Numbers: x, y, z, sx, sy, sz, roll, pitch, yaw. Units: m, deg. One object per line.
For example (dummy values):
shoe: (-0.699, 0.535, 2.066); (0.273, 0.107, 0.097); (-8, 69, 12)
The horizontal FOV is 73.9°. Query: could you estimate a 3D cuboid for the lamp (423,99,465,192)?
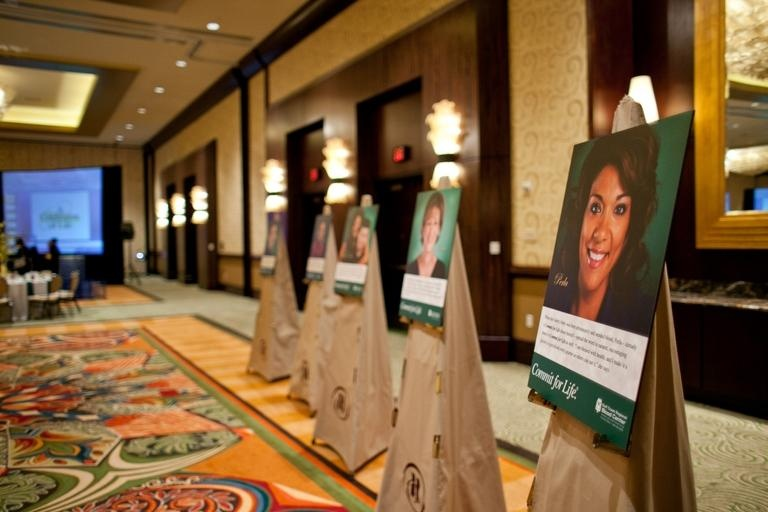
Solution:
lamp: (0.736, -1.390, 6.244); (0.435, 1.046, 0.503); (-1, 12, 2)
